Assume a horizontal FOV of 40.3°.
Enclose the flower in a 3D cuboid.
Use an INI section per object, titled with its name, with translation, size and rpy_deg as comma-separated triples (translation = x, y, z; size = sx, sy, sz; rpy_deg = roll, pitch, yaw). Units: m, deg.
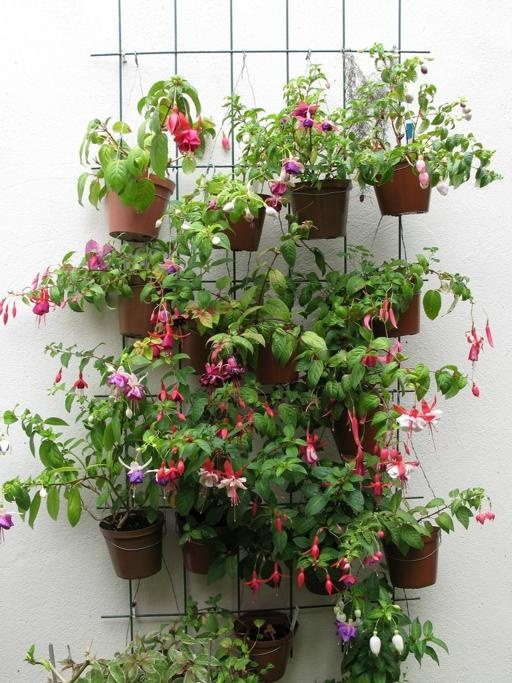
[flower]
translation = 0.058, -0.116, 1.967
size = 1.411, 1.581, 0.635
rpy_deg = 0, 2, -5
